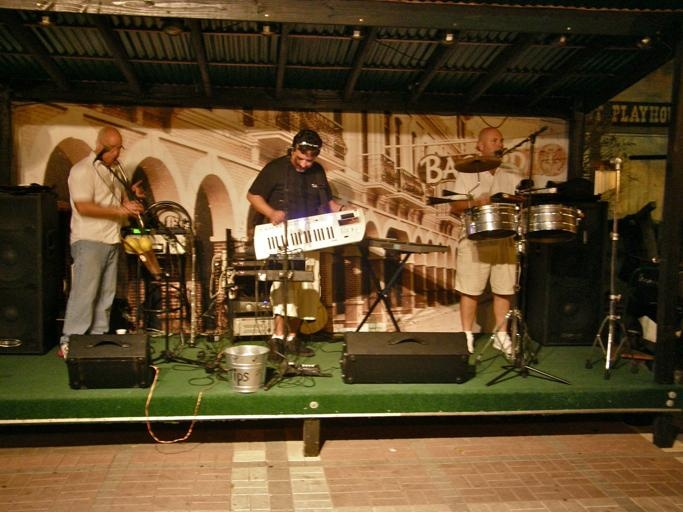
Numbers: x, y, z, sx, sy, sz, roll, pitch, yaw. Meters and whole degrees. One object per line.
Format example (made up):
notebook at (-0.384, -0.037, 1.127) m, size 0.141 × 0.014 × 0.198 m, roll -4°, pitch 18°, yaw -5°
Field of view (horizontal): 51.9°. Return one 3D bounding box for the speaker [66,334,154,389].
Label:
speaker at (-2.093, 0.883, 6.405) m, size 1.056 × 0.361 × 0.584 m, roll 1°, pitch 7°, yaw -7°

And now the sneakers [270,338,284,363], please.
sneakers at (-0.646, 0.929, 6.927) m, size 0.121 × 0.232 × 0.158 m, roll -1°, pitch -5°, yaw -5°

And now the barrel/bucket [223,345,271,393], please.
barrel/bucket at (-0.840, 1.014, 6.311) m, size 0.346 × 0.403 × 0.274 m, roll -3°, pitch -5°, yaw 21°

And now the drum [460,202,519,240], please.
drum at (1.461, -0.342, 6.738) m, size 0.522 × 0.293 × 0.453 m, roll -1°, pitch -4°, yaw 1°

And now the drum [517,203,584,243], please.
drum at (1.969, -0.321, 6.722) m, size 0.705 × 0.161 × 0.438 m, roll 3°, pitch -9°, yaw -13°

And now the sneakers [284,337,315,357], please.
sneakers at (-0.449, 0.931, 7.233) m, size 0.437 × 0.099 × 0.161 m, roll 2°, pitch 4°, yaw -3°

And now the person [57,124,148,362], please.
person at (-2.481, -0.185, 7.185) m, size 0.752 × 2.404 × 0.859 m, roll 0°, pitch -5°, yaw -18°

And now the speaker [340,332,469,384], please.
speaker at (0.577, 0.938, 6.443) m, size 1.214 × 0.233 × 0.516 m, roll 0°, pitch 0°, yaw -2°
